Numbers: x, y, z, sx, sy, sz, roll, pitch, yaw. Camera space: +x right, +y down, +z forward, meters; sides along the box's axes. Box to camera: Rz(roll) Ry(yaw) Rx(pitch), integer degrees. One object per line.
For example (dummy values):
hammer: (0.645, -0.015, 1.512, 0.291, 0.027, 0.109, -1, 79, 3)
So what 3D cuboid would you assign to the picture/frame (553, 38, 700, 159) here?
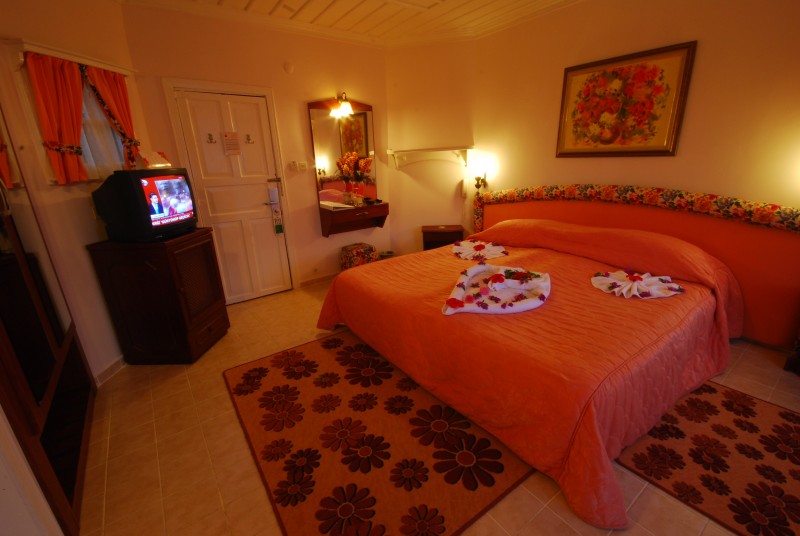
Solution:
picture/frame: (2.195, -1.627, 4.884, 1.202, 0.985, 0.053, 14, 23, 37)

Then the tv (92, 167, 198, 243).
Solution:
tv: (-2.179, -0.602, 4.622, 0.674, 0.631, 0.712, 6, 16, 14)

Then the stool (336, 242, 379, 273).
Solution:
stool: (-0.525, -0.135, 6.379, 0.355, 0.350, 0.354, -15, 15, -39)

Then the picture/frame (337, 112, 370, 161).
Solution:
picture/frame: (-0.568, -1.575, 6.087, 0.487, 0.683, 0.049, -13, 28, -29)

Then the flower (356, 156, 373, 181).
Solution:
flower: (-0.441, -1.209, 6.216, 0.163, 0.249, 0.224, 22, 30, 33)

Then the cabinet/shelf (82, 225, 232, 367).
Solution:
cabinet/shelf: (-2.113, 0.289, 4.655, 1.056, 1.145, 0.599, -11, 23, -32)

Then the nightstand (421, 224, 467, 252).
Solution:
nightstand: (0.555, -0.398, 6.432, 0.495, 0.473, 0.315, -6, 14, -19)

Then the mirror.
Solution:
mirror: (-0.647, -1.455, 6.065, 0.998, 1.746, 0.062, -15, 18, -32)
